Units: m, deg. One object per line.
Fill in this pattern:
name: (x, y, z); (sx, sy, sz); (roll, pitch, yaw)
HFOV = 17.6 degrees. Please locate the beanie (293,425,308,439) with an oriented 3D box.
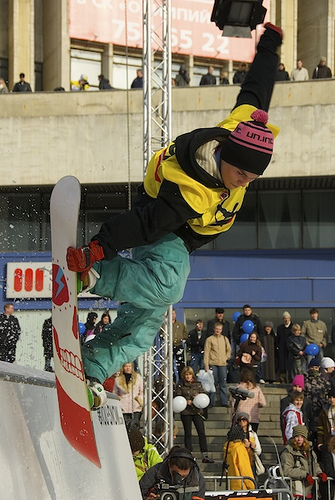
beanie: (1.574, 2.152, 12.798); (0.142, 0.150, 0.199); (4, 4, 35)

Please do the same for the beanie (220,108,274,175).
beanie: (0.689, -0.919, 8.884); (0.372, 0.523, 0.476); (15, 2, -43)

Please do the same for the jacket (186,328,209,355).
jacket: (0.449, 1.432, 16.854); (0.285, 0.403, 0.123); (1, -23, 7)

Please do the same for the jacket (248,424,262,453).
jacket: (1.048, 2.298, 13.151); (0.070, 0.309, 0.176); (-17, -8, 9)

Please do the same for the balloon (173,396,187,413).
balloon: (0.169, 2.083, 14.547); (0.171, 0.214, 0.178); (-1, -3, 8)

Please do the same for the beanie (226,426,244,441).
beanie: (0.822, 2.168, 12.795); (0.206, 0.140, 0.255); (0, -8, 8)

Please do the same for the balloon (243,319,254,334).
balloon: (1.281, 1.173, 16.844); (0.152, 0.190, 0.163); (-10, -33, 39)

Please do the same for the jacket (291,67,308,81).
jacket: (2.721, -3.628, 21.960); (0.418, 0.258, 0.313); (0, 4, -21)

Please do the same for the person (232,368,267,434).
person: (1.117, 2.138, 14.771); (0.485, 1.255, 0.474); (2, 36, 9)

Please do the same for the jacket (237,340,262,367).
jacket: (1.212, 1.530, 15.983); (0.276, 0.384, 0.164); (-3, -5, 1)

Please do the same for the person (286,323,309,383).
person: (2.000, 1.634, 16.684); (0.323, 0.960, 0.861); (2, 4, 3)

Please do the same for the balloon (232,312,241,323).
balloon: (1.161, 1.159, 18.387); (0.173, 0.237, 0.204); (2, 8, 4)

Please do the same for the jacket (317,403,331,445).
jacket: (2.017, 2.240, 13.829); (0.075, 0.465, 0.127); (1, 1, -27)

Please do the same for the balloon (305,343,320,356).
balloon: (2.209, 1.505, 16.506); (0.150, 0.153, 0.197); (-10, -9, 19)

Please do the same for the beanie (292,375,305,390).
beanie: (1.735, 1.730, 14.345); (0.125, 0.165, 0.195); (3, -10, 21)

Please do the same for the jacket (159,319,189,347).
jacket: (0.113, 1.279, 16.682); (0.347, 0.456, 0.453); (-7, 3, -15)

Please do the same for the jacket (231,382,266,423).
jacket: (1.101, 2.037, 14.509); (0.313, 0.554, 0.557); (3, 4, 24)

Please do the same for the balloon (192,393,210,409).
balloon: (0.437, 2.017, 14.515); (0.179, 0.185, 0.212); (-15, 2, 23)

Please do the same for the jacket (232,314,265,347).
jacket: (1.273, 1.240, 17.041); (0.477, 0.527, 0.282); (0, 14, 6)

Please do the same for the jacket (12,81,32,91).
jacket: (-3.058, -3.457, 22.489); (0.328, 0.209, 0.671); (2, 4, 9)

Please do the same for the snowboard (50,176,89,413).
snowboard: (-0.774, 0.353, 8.824); (0.278, 2.086, 0.287); (-9, -11, 40)

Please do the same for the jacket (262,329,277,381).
jacket: (1.629, 1.714, 17.400); (0.204, 0.804, 0.400); (2, 4, 4)

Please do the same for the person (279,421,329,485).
person: (1.657, 2.386, 12.991); (0.571, 0.635, 1.328); (2, 4, 8)

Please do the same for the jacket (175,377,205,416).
jacket: (0.287, 2.029, 14.816); (0.483, 0.614, 0.317); (3, -9, -20)

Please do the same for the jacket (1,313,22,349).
jacket: (-2.428, 1.234, 16.662); (0.279, 0.548, 0.339); (1, 4, -8)

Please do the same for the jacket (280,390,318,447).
jacket: (1.737, 2.209, 14.158); (0.341, 0.861, 0.350); (-1, -4, 31)

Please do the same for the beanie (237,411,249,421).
beanie: (0.925, 2.054, 13.301); (0.141, 0.139, 0.320); (2, 4, 5)

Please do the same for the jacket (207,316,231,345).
jacket: (0.788, 1.246, 16.788); (0.177, 0.538, 0.556); (-3, -2, 31)

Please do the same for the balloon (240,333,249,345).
balloon: (1.177, 1.359, 16.660); (0.122, 0.150, 0.127); (3, 30, -8)

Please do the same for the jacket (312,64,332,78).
jacket: (3.102, -3.646, 21.711); (0.354, 0.312, 0.606); (2, 4, 6)

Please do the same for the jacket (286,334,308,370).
jacket: (2.003, 1.588, 16.671); (0.319, 0.566, 0.397); (2, 4, 6)
